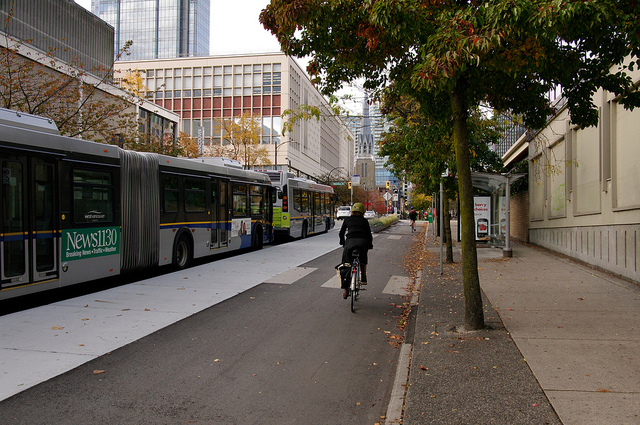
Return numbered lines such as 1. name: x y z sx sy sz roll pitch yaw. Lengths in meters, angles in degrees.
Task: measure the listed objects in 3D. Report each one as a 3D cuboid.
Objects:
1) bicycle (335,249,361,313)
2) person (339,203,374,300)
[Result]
1. bicycle: 0.627 1.476 11.900 0.527 1.325 1.103 -1 6 4
2. person: 0.791 0.733 12.132 0.723 1.915 0.788 -1 6 1
